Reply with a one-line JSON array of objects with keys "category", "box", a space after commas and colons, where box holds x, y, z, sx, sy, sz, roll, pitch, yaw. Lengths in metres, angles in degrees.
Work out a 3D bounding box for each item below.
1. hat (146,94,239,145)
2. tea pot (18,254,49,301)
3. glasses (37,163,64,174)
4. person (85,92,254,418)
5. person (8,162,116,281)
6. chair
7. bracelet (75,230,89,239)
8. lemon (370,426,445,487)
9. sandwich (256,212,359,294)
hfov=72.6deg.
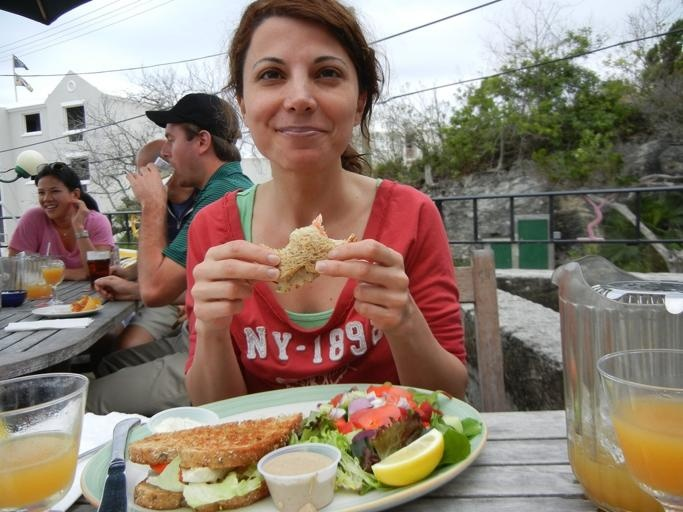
[{"category": "hat", "box": [-1.376, -1.308, 4.329, 0.751, 0.405, 0.548, 4, 3, -9]}, {"category": "tea pot", "box": [-2.462, 0.162, 3.806, 0.240, 0.350, 0.251, -4, 2, 0]}, {"category": "glasses", "box": [-3.335, -1.003, 5.376, 0.187, 0.061, 0.191, -6, -16, -22]}, {"category": "person", "box": [-1.287, -0.099, 3.631, 1.216, 3.234, 1.156, 0, 5, -43]}, {"category": "person", "box": [-3.206, -0.368, 5.242, 0.973, 1.770, 0.959, -2, 7, -15]}, {"category": "chair", "box": [0.742, 0.396, 2.624, 0.341, 0.822, 0.311, 4, 6, 10]}, {"category": "bracelet", "box": [-2.788, -0.225, 5.006, 0.116, 0.084, 0.122, 3, -13, -21]}, {"category": "lemon", "box": [0.198, 0.549, 1.230, 0.234, 0.104, 0.105, -16, -18, -32]}, {"category": "sandwich", "box": [-0.108, -0.009, 1.638, 0.241, 0.273, 0.223, -1, 2, -6]}]
